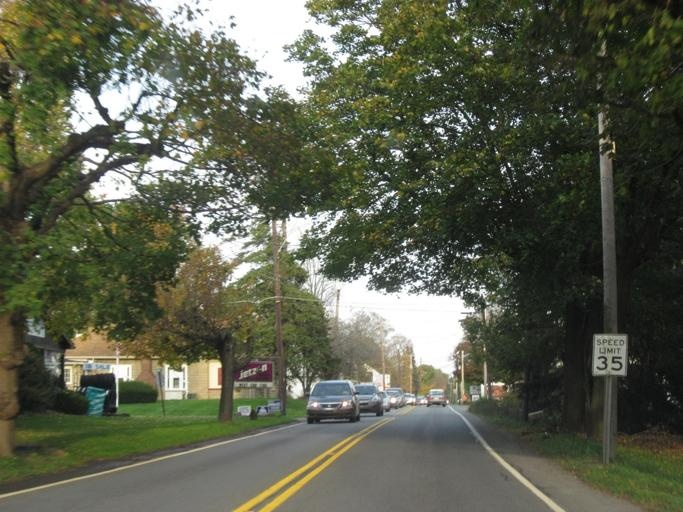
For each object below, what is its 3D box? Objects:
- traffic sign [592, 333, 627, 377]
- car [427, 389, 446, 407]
[{"bbox_3d":[6.953,2.644,18.547,0.875,1.310,0.128,-1,-4,9],"label":"traffic sign"},{"bbox_3d":[9.640,14.760,72.469,1.110,1.287,2.441,0,-2,8],"label":"car"}]
